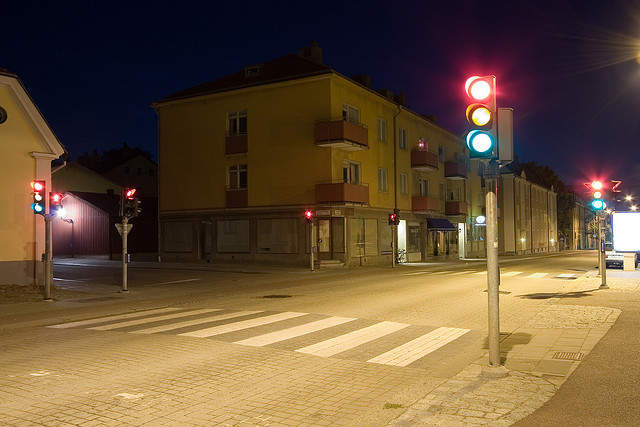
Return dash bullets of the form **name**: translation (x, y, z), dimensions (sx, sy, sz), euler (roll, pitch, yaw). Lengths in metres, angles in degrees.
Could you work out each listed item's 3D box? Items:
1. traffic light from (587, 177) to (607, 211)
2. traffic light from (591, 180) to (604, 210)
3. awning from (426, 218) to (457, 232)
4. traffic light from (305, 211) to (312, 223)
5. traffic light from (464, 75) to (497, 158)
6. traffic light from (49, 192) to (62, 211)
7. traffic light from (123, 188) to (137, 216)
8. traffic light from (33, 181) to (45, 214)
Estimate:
- **traffic light**: translation (10.498, -0.721, 19.949), dimensions (0.349, 1.090, 0.383), euler (-14, 9, -28)
- **traffic light**: translation (10.471, -0.691, 20.109), dimensions (0.421, 1.155, 1.015), euler (-3, -5, 27)
- **awning**: translation (10.670, 1.024, 47.397), dimensions (1.101, 1.294, 4.648), euler (-4, -6, 30)
- **traffic light**: translation (-0.657, 0.201, 30.918), dimensions (0.352, 0.642, 0.430), euler (-2, -4, 2)
- **traffic light**: translation (2.943, -1.775, 9.686), dimensions (0.531, 1.508, 0.408), euler (-3, -4, 16)
- **traffic light**: translation (-9.556, -0.430, 19.177), dimensions (0.381, 0.707, 0.581), euler (1, -5, -34)
- **traffic light**: translation (-7.601, -0.481, 21.196), dimensions (0.516, 1.162, 1.007), euler (0, -5, -28)
- **traffic light**: translation (-10.135, -0.600, 19.150), dimensions (0.312, 1.215, 0.736), euler (0, -4, -18)
